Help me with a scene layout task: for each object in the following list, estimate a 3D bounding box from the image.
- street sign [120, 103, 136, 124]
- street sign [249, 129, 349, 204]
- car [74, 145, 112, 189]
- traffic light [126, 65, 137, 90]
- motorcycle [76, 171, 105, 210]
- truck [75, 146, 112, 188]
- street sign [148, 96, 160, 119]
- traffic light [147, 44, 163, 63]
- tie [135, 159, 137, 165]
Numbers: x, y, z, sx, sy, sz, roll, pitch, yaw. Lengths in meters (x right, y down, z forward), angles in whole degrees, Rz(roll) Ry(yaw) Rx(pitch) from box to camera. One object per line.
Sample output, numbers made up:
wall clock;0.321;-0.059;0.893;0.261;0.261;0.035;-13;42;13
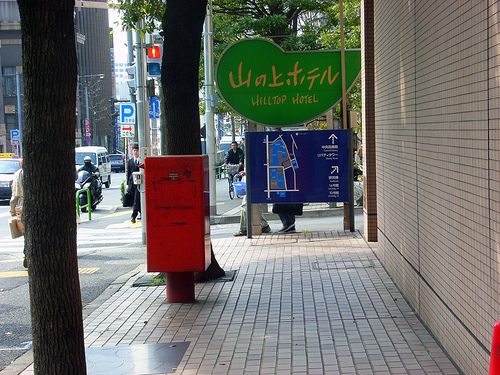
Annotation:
street sign;-3.867;-2.354;15.498;0.385;0.637;1.163;-5;4;-19
street sign;1.067;-0.504;11.332;2.262;1.761;0.204;0;12;12
car;-10.824;-1.343;32.916;2.295;2.726;4.232;0;2;-1
traffic light;-3.039;-2.831;12.599;0.208;0.683;0.624;-5;4;-16
motorcycle;-6.630;0.160;20.239;0.944;1.704;3.002;-5;4;-16
truck;-10.764;-1.350;32.887;2.326;2.762;4.325;0;0;-1
street sign;-3.296;-2.766;16.849;0.325;0.723;0.609;-5;4;-10
traffic light;-2.472;-3.449;12.647;0.364;0.540;0.616;-5;4;-11
tie;-3.767;-0.856;16.187;0.104;0.153;0.039;3;-1;18
